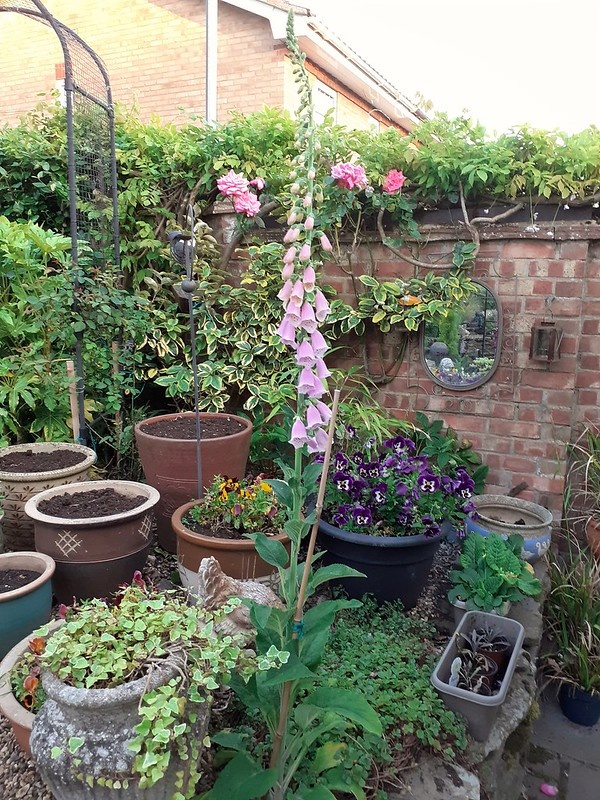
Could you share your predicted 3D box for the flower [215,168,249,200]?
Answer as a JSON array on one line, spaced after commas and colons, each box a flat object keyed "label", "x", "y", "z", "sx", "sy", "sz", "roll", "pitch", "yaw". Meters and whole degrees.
[{"label": "flower", "x": -0.346, "y": -1.109, "z": 3.145, "sx": 0.175, "sy": 0.164, "sz": 0.107, "roll": 7, "pitch": -33, "yaw": 3}]

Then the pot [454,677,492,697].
[{"label": "pot", "x": 0.535, "y": 0.856, "z": 1.810, "sx": 0.075, "sy": 0.051, "sz": 0.066, "roll": 1, "pitch": 8, "yaw": 24}]

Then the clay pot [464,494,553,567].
[{"label": "clay pot", "x": 0.966, "y": 0.516, "z": 2.767, "sx": 0.369, "sy": 0.235, "sz": 0.380, "roll": 0, "pitch": 6, "yaw": 0}]

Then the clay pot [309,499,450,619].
[{"label": "clay pot", "x": 0.288, "y": 0.564, "z": 2.308, "sx": 0.412, "sy": 0.268, "sz": 0.395, "roll": 0, "pitch": 2, "yaw": 0}]

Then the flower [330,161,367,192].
[{"label": "flower", "x": 0.241, "y": -1.070, "z": 2.922, "sx": 0.162, "sy": 0.152, "sz": 0.091, "roll": -9, "pitch": 2, "yaw": 12}]

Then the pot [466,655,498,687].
[{"label": "pot", "x": 0.568, "y": 0.825, "z": 1.863, "sx": 0.082, "sy": 0.061, "sz": 0.085, "roll": 0, "pitch": 4, "yaw": 0}]

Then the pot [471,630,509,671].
[{"label": "pot", "x": 0.628, "y": 0.818, "z": 1.991, "sx": 0.116, "sy": 0.103, "sz": 0.111, "roll": -1, "pitch": 1, "yaw": 0}]

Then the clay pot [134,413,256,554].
[{"label": "clay pot", "x": -0.510, "y": 0.358, "z": 2.882, "sx": 0.521, "sy": 0.476, "sz": 0.507, "roll": 3, "pitch": 8, "yaw": 0}]

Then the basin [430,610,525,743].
[{"label": "basin", "x": 0.572, "y": 0.834, "z": 1.897, "sx": 0.206, "sy": 0.141, "sz": 0.403, "roll": 7, "pitch": 15, "yaw": 28}]

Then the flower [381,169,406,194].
[{"label": "flower", "x": 0.475, "y": -1.090, "z": 3.025, "sx": 0.103, "sy": 0.104, "sz": 0.131, "roll": 1, "pitch": 11, "yaw": 11}]

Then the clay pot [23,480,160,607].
[{"label": "clay pot", "x": -0.802, "y": 0.527, "z": 2.293, "sx": 0.495, "sy": 0.341, "sz": 0.477, "roll": 3, "pitch": 10, "yaw": 0}]

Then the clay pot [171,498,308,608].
[{"label": "clay pot", "x": -0.239, "y": 0.599, "z": 2.200, "sx": 0.395, "sy": 0.269, "sz": 0.395, "roll": 14, "pitch": -29, "yaw": 8}]

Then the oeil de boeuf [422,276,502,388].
[{"label": "oeil de boeuf", "x": 0.846, "y": -0.333, "z": 3.151, "sx": 0.407, "sy": 0.560, "sz": 0.075, "roll": 8, "pitch": 14, "yaw": 38}]
